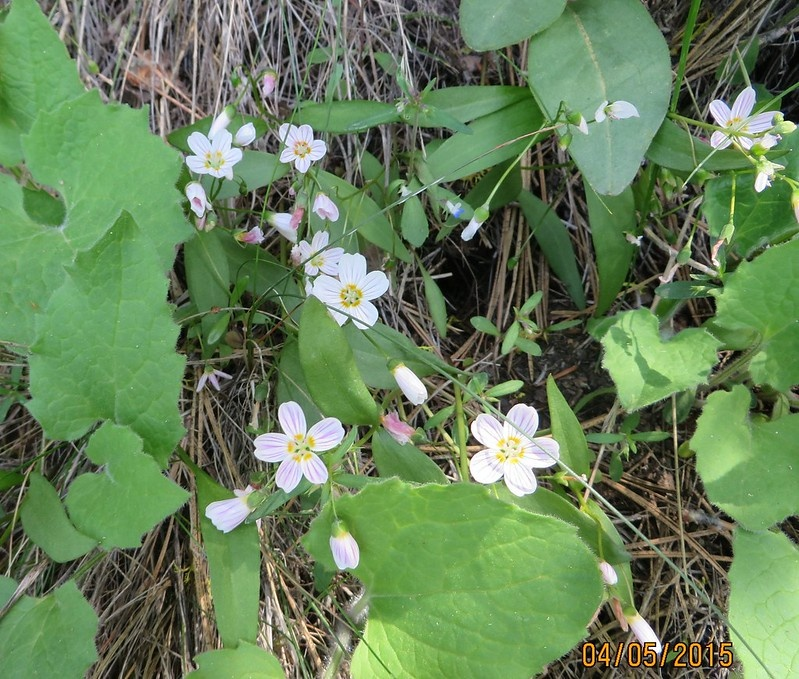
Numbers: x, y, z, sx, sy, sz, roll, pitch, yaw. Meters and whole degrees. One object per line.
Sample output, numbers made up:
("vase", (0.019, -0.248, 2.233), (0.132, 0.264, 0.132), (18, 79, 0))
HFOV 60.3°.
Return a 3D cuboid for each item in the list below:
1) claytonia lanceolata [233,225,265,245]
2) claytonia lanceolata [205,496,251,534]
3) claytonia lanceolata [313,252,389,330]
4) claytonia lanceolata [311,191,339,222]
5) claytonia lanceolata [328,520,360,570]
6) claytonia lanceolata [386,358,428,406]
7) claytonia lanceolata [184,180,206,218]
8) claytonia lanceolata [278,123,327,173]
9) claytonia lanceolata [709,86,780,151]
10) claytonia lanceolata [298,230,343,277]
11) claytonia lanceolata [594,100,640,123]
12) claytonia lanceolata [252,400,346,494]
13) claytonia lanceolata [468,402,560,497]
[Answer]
("claytonia lanceolata", (-0.485, -0.319, 2.215), (0.078, 0.055, 0.050), (-12, 61, 14))
("claytonia lanceolata", (-0.474, 0.477, 1.916), (0.120, 0.090, 0.039), (-37, 17, -35))
("claytonia lanceolata", (-0.141, -0.153, 2.094), (0.209, 0.269, 0.090), (-9, 69, 0))
("claytonia lanceolata", (-0.236, -0.418, 2.215), (0.057, 0.088, 0.036), (-8, 41, 16))
("claytonia lanceolata", (-0.143, 0.526, 1.806), (0.065, 0.053, 0.128), (-25, 83, 33))
("claytonia lanceolata", (0.015, 0.103, 2.004), (0.066, 0.070, 0.165), (-44, 74, 36))
("claytonia lanceolata", (-0.614, -0.412, 2.055), (0.050, 0.042, 0.119), (2, 89, 7))
("claytonia lanceolata", (-0.314, -0.622, 2.248), (0.134, 0.077, 0.186), (-20, 92, 10))
("claytonia lanceolata", (1.049, -0.661, 2.140), (0.195, 0.058, 0.220), (-9, 67, 16))
("claytonia lanceolata", (-0.289, -0.302, 2.250), (0.138, 0.155, 0.067), (-21, 98, -12))
("claytonia lanceolata", (0.672, -0.698, 2.124), (0.115, 0.086, 0.049), (12, 48, 17))
("claytonia lanceolata", (-0.260, 0.288, 1.841), (0.194, 0.145, 0.226), (30, 71, 26))
("claytonia lanceolata", (0.300, 0.296, 1.934), (0.253, 0.288, 0.084), (-24, 33, 17))
